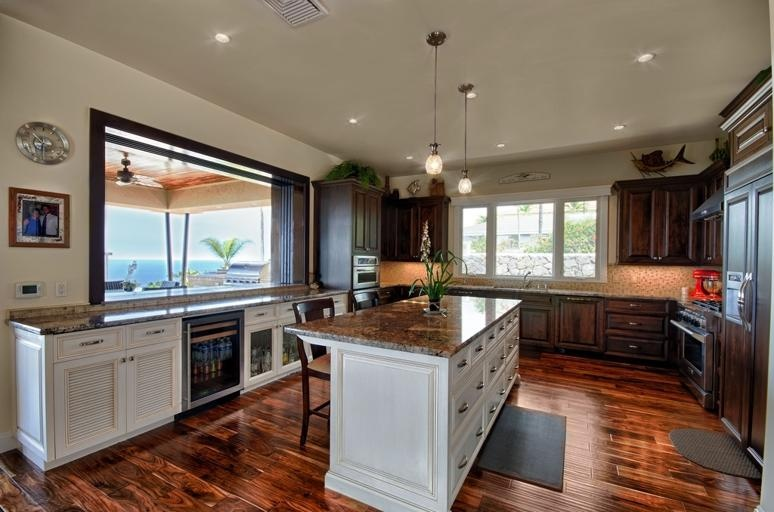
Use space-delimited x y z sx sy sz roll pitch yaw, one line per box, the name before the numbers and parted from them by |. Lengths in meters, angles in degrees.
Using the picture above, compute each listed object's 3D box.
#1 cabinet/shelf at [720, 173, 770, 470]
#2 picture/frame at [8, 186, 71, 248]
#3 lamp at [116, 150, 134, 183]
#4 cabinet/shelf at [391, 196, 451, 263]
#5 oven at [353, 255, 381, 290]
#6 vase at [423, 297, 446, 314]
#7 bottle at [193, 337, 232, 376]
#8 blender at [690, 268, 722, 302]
cabinet/shelf | 3.486 0.582 4.671 0.212 2.712 0.785 -3 2 8
picture/frame | -3.431 -0.386 4.740 0.663 0.826 0.062 0 -1 -29
lamp | -3.103 -1.037 5.769 0.119 0.330 0.293 -3 2 -5
cabinet/shelf | 0.620 -0.475 8.239 1.241 1.135 0.483 -1 -1 34
oven | -0.399 0.255 7.608 0.636 0.536 0.424 -1 6 -44
vase | 0.507 0.523 5.120 0.187 0.120 0.183 -1 -4 2
bottle | -1.965 1.113 5.398 0.274 0.468 0.501 -3 -4 35
blender | 4.163 0.366 6.236 0.462 0.362 0.358 -3 2 5
